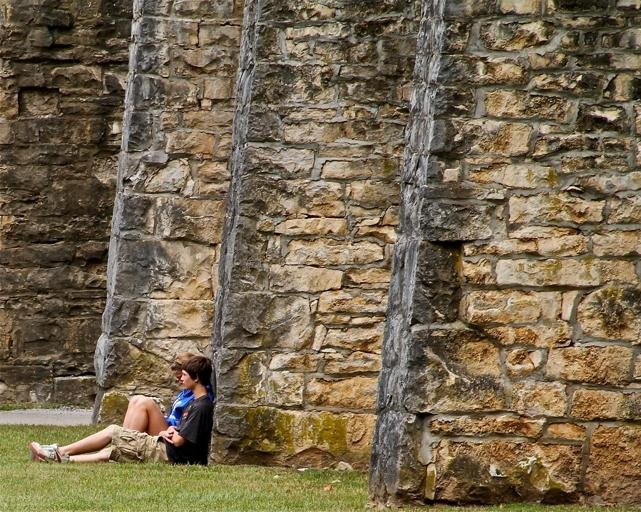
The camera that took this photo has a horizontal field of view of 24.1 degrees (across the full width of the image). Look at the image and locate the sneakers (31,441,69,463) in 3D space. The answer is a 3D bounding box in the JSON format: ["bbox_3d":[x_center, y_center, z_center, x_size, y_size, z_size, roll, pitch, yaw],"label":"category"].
[{"bbox_3d":[-1.996,1.440,11.058,0.333,0.130,0.114,13,-8,-12],"label":"sneakers"}]

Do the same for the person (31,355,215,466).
[{"bbox_3d":[-1.452,1.215,11.328,1.441,0.757,0.571,-5,-2,3],"label":"person"}]
